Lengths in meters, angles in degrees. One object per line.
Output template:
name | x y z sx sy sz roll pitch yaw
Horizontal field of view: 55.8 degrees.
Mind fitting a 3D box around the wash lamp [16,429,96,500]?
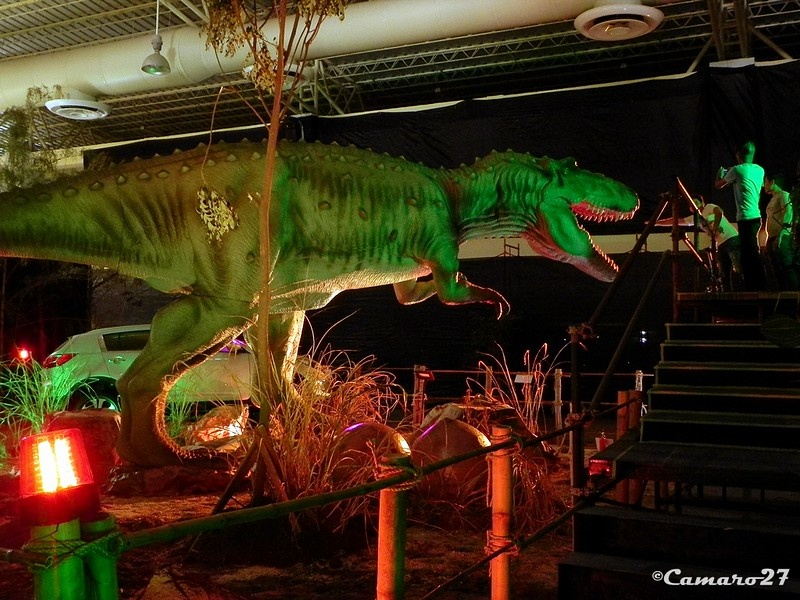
wash lamp | -1.248 0.577 2.781 0.239 0.229 0.237 -8 -5 -13

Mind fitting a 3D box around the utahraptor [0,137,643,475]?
utahraptor | -0.797 -0.104 6.591 4.913 2.549 1.007 -7 7 -17

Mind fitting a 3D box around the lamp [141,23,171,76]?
lamp | -3.516 -3.572 10.891 0.372 0.484 0.385 5 6 7

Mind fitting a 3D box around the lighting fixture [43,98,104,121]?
lighting fixture | -5.300 -3.203 12.457 0.920 0.307 1.125 -7 8 -18

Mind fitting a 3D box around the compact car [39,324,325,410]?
compact car | -3.289 1.007 11.748 4.073 1.458 1.726 0 4 -26
